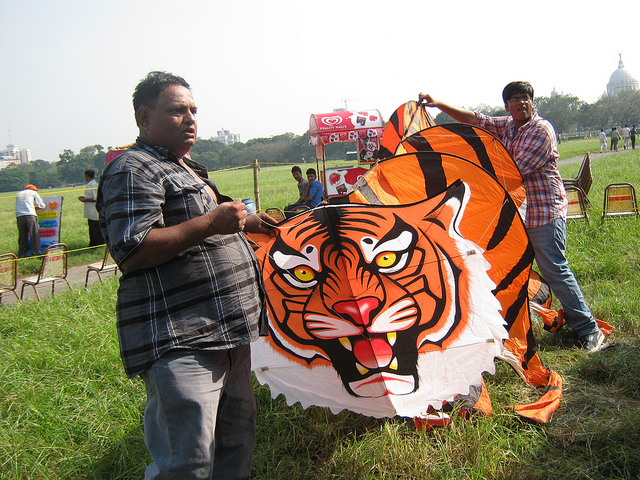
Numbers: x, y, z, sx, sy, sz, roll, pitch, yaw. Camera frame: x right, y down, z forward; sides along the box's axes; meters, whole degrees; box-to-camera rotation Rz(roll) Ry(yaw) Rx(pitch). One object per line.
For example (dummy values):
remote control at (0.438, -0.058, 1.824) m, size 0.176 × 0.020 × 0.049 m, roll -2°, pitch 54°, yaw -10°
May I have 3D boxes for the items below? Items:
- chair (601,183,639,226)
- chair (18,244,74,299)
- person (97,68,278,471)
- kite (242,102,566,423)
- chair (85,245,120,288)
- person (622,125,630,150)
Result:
chair at (5.826, -0.669, 9.125) m, size 0.714 × 1.106 × 0.771 m, roll 1°, pitch 10°, yaw 25°
chair at (-5.033, 0.642, 8.580) m, size 0.801 × 1.275 × 0.721 m, roll 6°, pitch 10°, yaw 18°
person at (-0.852, 0.163, 2.955) m, size 0.934 × 1.865 × 0.571 m, roll -7°, pitch 5°, yaw -28°
kite at (0.821, -0.395, 5.456) m, size 3.261 × 2.024 × 4.328 m, roll -10°, pitch 32°, yaw 19°
chair at (-4.199, 0.457, 8.930) m, size 0.507 × 0.757 × 0.509 m, roll 9°, pitch 13°, yaw 36°
person at (21.496, -7.176, 32.702) m, size 0.357 × 1.630 × 1.931 m, roll -2°, pitch 6°, yaw 33°
